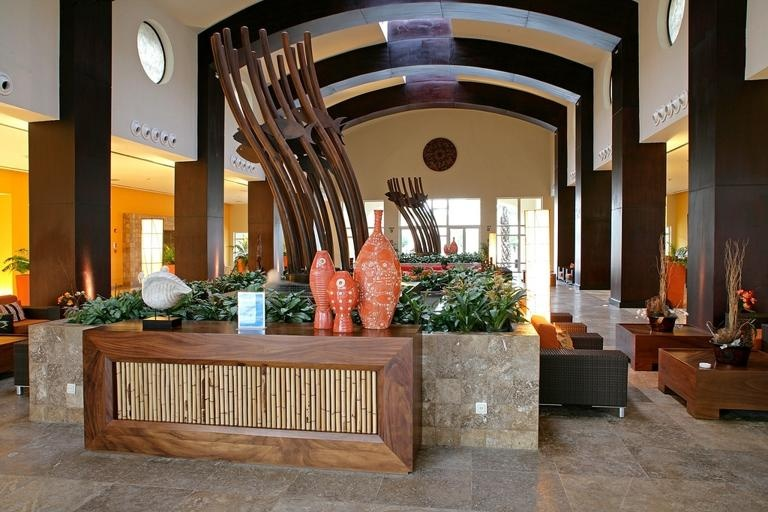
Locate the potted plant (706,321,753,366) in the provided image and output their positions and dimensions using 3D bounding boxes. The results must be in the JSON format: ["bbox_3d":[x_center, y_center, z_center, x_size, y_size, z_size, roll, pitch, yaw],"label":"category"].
[{"bbox_3d":[3.899,1.002,5.906,0.478,0.391,0.567,0,-5,3],"label":"potted plant"}]

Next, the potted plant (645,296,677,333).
[{"bbox_3d":[3.891,0.799,7.359,0.446,0.567,0.458,-2,1,-36],"label":"potted plant"}]

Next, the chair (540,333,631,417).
[{"bbox_3d":[2.174,1.297,5.730,0.622,0.522,1.183,-1,0,11],"label":"chair"}]

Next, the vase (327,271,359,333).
[{"bbox_3d":[-0.381,0.414,4.759,0.271,0.545,0.249,-1,10,-4],"label":"vase"}]

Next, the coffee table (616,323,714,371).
[{"bbox_3d":[3.681,1.186,7.197,0.834,0.376,0.854,-1,-3,6],"label":"coffee table"}]

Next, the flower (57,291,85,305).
[{"bbox_3d":[-5.128,0.701,8.442,0.419,0.253,0.332,-1,3,-8],"label":"flower"}]

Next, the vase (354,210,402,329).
[{"bbox_3d":[-0.077,0.152,4.895,0.440,1.144,0.380,-1,10,-2],"label":"vase"}]

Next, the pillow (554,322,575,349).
[{"bbox_3d":[2.218,0.997,6.384,0.328,0.390,0.112,-21,13,-40],"label":"pillow"}]
